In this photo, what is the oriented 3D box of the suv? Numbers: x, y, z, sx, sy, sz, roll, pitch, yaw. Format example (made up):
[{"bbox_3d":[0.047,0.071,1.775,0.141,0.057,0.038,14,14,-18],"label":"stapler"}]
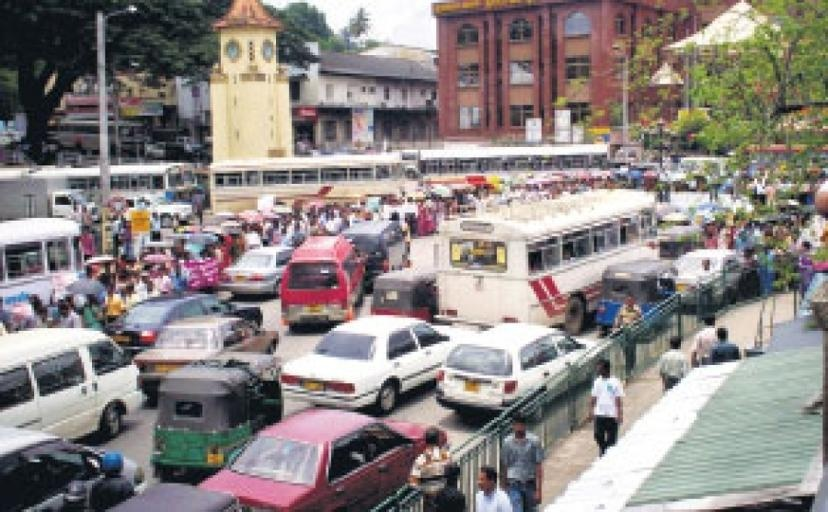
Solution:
[{"bbox_3d":[2.579,3.263,37.562,2.009,1.472,4.459,5,17,41],"label":"suv"}]

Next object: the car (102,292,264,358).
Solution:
[{"bbox_3d":[-7.163,1.817,41.898,1.921,1.300,4.288,5,13,24],"label":"car"}]

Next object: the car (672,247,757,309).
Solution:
[{"bbox_3d":[9.705,0.789,45.021,1.825,1.464,3.185,0,1,30],"label":"car"}]

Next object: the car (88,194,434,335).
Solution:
[{"bbox_3d":[-2.993,0.806,48.564,3.272,3.342,8.827,1,12,16],"label":"car"}]

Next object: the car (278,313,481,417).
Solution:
[{"bbox_3d":[-1.322,3.032,38.391,2.264,1.534,5.166,8,18,36],"label":"car"}]
